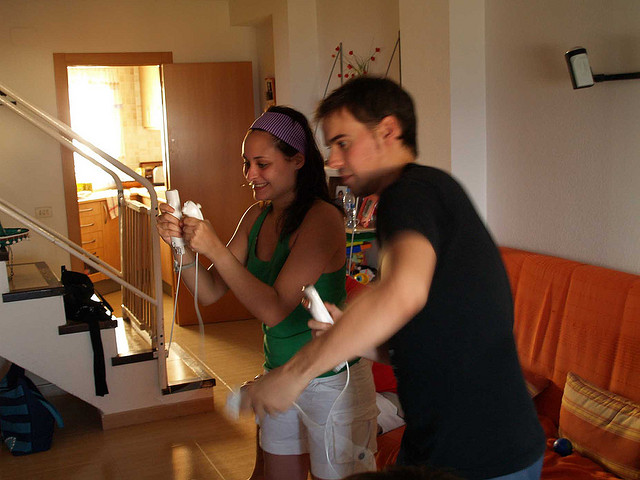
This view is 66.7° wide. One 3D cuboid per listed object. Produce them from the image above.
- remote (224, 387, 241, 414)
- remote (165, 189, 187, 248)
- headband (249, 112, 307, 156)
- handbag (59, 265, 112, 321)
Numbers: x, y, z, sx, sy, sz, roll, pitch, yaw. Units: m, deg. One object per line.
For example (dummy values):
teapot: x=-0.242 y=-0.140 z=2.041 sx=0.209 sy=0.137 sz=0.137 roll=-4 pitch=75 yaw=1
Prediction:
remote: x=-0.174 y=0.323 z=0.985 sx=0.009 sy=0.038 sz=0.037 roll=24 pitch=-7 yaw=43
remote: x=-0.475 y=-0.071 z=1.624 sx=0.048 sy=0.206 sz=0.053 roll=-7 pitch=3 yaw=24
headband: x=-0.148 y=-0.373 z=1.720 sx=0.196 sy=0.104 sz=0.199 roll=10 pitch=1 yaw=-26
handbag: x=-1.759 y=0.363 z=3.646 sx=0.298 sy=0.319 sz=0.668 roll=-8 pitch=14 yaw=-27
